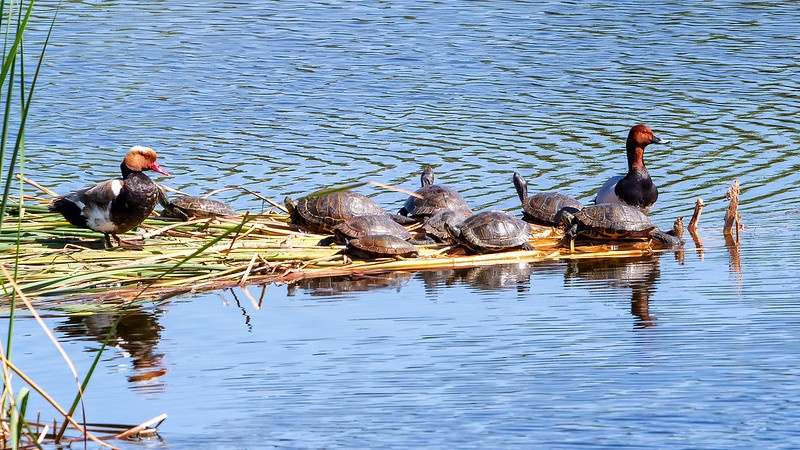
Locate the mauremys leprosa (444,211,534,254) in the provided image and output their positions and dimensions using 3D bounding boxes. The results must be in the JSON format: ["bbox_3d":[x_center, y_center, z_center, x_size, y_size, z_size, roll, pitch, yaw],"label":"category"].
[{"bbox_3d":[1.414,0.051,16.477,1.536,0.355,0.922,-5,31,-28],"label":"mauremys leprosa"}]

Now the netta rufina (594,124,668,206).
[{"bbox_3d":[4.088,-0.991,18.106,0.979,1.568,1.170,-1,8,9],"label":"netta rufina"}]

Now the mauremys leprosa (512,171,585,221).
[{"bbox_3d":[2.474,-0.460,17.829,1.520,0.363,0.898,15,21,29],"label":"mauremys leprosa"}]
